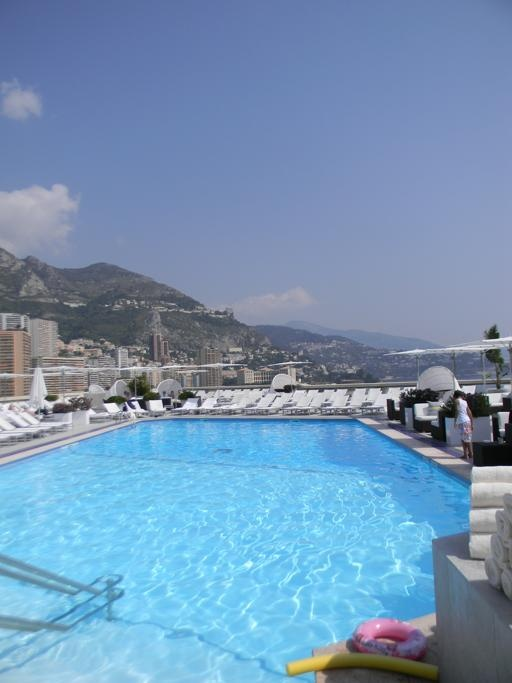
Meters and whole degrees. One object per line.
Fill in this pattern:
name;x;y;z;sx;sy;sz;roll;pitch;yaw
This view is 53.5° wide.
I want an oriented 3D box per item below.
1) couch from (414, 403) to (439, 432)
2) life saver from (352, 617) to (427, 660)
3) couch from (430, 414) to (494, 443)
couch;3.565;1.638;10.469;0.599;0.518;0.559;1;-4;-16
life saver;0.632;1.419;2.404;0.304;0.118;0.356;-1;-1;14
couch;3.473;1.435;8.273;0.739;0.376;0.673;0;-5;-9
